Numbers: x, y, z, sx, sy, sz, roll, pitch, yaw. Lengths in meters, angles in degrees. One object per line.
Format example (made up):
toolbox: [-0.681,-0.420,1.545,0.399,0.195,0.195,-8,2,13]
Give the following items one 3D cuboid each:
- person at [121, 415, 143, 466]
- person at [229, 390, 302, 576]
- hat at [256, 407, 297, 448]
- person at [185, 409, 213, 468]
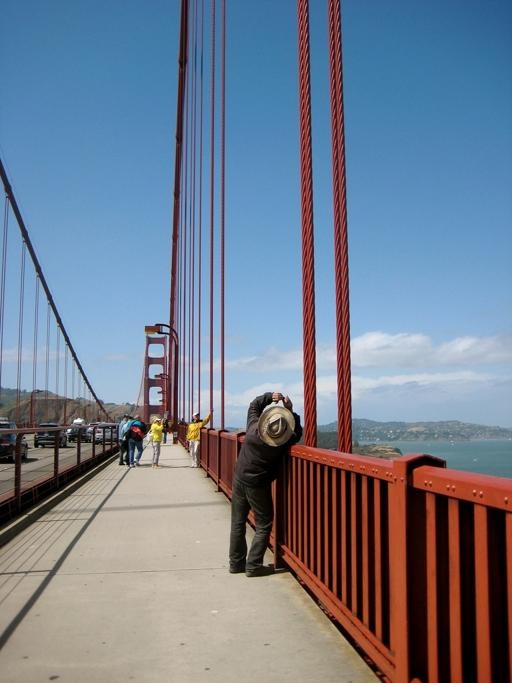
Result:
person: [-4.116,3.087,18.028,0.553,2.039,0.622,-1,12,-17]
person: [0.030,1.181,4.569,0.412,1.573,0.805,6,-8,-40]
hat: [0.154,0.629,4.269,0.080,0.245,0.285,-13,34,31]
person: [-1.782,2.845,16.307,0.690,2.039,0.339,8,17,9]
